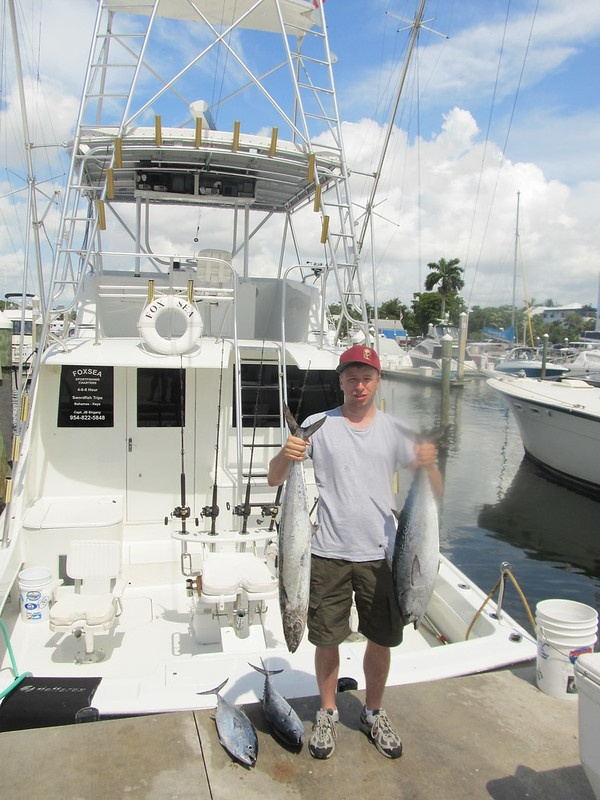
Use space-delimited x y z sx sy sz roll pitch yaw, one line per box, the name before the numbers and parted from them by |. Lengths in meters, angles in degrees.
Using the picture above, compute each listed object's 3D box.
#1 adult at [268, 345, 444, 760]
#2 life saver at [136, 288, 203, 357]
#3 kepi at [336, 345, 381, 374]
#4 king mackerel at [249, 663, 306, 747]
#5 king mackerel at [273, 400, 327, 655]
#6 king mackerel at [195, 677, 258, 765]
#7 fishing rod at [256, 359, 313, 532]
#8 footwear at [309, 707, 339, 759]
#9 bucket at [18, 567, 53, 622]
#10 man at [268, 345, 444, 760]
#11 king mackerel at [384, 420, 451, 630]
adult | 0.261 0.600 2.318 0.857 1.635 0.613 1 -2 -18
life saver | -1.153 -0.644 5.174 0.520 0.543 0.271 1 0 -17
kepi | 0.240 -0.169 2.397 0.161 0.114 0.258 1 6 4
king mackerel | -0.079 1.312 2.442 0.154 0.161 0.425 10 24 -26
king mackerel | -0.021 0.611 2.290 0.125 0.865 0.156 1 0 2
king mackerel | -0.279 1.326 2.351 0.147 0.122 0.365 -23 13 -13
fishing rod | -0.143 0.319 4.183 0.448 1.536 0.074 3 0 -11
footwear | 0.100 1.341 2.364 0.133 0.181 0.113 1 0 -15
bucket | -1.856 1.382 4.120 0.225 0.415 0.272 1 0 -25
man | 0.225 0.609 2.318 0.801 1.637 0.602 1 0 1
king mackerel | 0.485 0.488 2.381 0.315 0.793 0.160 -1 -5 16
